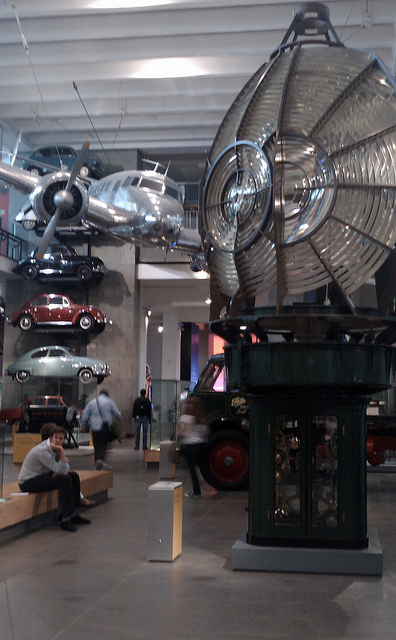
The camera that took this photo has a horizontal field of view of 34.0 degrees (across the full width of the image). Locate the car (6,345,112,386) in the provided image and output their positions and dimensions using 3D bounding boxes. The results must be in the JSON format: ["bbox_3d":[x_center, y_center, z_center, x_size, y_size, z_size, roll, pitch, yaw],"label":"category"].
[{"bbox_3d":[-5.234,1.764,24.366,3.351,1.411,1.535,0,-1,4],"label":"car"}]

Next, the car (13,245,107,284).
[{"bbox_3d":[-5.341,-2.110,25.607,2.830,1.367,1.672,1,0,1],"label":"car"}]

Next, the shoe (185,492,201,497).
[{"bbox_3d":[-0.107,2.835,10.452,0.282,0.070,0.126,-3,-7,25],"label":"shoe"}]

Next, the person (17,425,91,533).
[{"bbox_3d":[-1.793,1.934,7.920,0.773,1.244,0.673,1,-6,-12],"label":"person"}]

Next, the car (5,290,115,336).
[{"bbox_3d":[-5.786,-0.364,26.137,4.576,2.012,2.027,-1,-6,10],"label":"car"}]

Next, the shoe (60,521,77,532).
[{"bbox_3d":[-1.558,2.479,7.734,0.140,0.103,0.331,4,-7,-28],"label":"shoe"}]

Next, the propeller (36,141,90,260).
[{"bbox_3d":[-3.728,-3.145,17.405,1.233,4.900,1.242,0,3,7],"label":"propeller"}]

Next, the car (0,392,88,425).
[{"bbox_3d":[-5.246,2.923,20.953,1.721,1.098,5.193,3,-7,-26],"label":"car"}]

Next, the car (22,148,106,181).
[{"bbox_3d":[-5.038,-5.802,23.684,3.268,1.841,2.059,-2,13,-11],"label":"car"}]

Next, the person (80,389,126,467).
[{"bbox_3d":[-1.873,2.065,12.224,0.579,1.428,0.860,-3,-7,23],"label":"person"}]

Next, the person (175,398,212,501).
[{"bbox_3d":[-0.070,2.047,10.171,0.463,1.603,0.553,0,-6,-2],"label":"person"}]

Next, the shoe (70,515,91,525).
[{"bbox_3d":[-1.485,2.517,8.119,0.286,0.124,0.193,3,-7,-25],"label":"shoe"}]
